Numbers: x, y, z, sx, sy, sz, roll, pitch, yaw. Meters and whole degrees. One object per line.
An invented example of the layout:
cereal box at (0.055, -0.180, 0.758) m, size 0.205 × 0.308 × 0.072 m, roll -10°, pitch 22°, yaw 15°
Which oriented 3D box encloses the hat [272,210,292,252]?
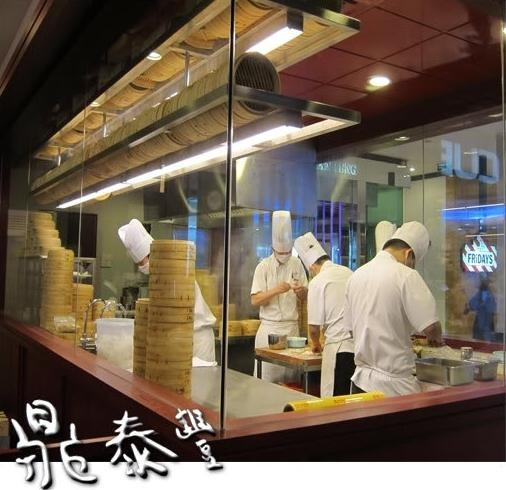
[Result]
hat at (0.109, -0.052, 1.841) m, size 0.075 × 0.136 × 0.142 m, roll -2°, pitch 26°, yaw -1°

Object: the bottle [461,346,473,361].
bottle at (0.758, 0.384, 1.706) m, size 0.030 × 0.049 × 0.050 m, roll 2°, pitch -4°, yaw -29°

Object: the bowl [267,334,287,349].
bowl at (0.087, 0.347, 1.732) m, size 0.067 × 0.057 × 0.075 m, roll 0°, pitch -2°, yaw 11°

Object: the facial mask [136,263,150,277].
facial mask at (-0.357, 0.079, 1.568) m, size 0.037 × 0.035 × 0.036 m, roll -2°, pitch -5°, yaw 18°

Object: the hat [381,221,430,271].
hat at (0.651, -0.031, 1.963) m, size 0.153 × 0.154 × 0.113 m, roll 40°, pitch -22°, yaw -21°
